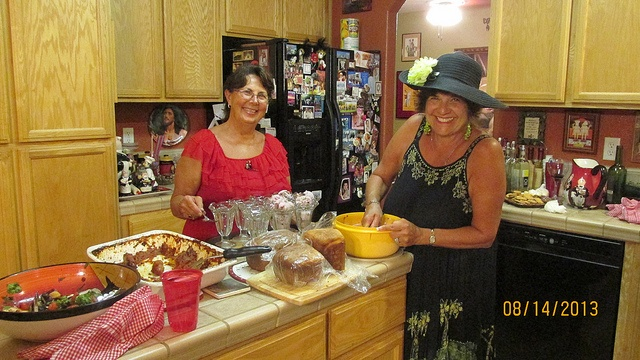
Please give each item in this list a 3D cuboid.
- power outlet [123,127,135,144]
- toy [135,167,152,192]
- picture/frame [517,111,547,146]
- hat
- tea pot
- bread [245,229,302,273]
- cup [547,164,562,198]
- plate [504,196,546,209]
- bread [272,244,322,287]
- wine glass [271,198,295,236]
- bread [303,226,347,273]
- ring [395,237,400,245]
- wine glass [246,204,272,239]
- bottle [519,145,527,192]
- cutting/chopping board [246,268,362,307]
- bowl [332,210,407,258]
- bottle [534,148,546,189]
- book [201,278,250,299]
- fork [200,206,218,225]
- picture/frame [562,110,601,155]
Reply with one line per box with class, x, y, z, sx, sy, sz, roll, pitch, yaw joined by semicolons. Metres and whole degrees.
power outlet;-1.900;-0.433;4.092;0.120;0.144;0.060;-10;14;-34
toy;-1.590;0.015;3.724;0.128;0.201;0.091;-5;12;-14
picture/frame;2.065;-0.491;4.002;0.344;0.438;0.047;4;6;36
hat;0.771;-0.608;2.496;0.408;0.164;0.451;21;9;38
tea pot;2.239;0.048;3.457;0.310;0.411;0.440;1;7;-6
bread;-0.234;0.371;2.258;0.170;0.151;0.296;8;16;41
cup;2.133;-0.002;3.800;0.095;0.328;0.170;-5;12;-11
plate;1.757;0.190;3.536;0.308;0.080;0.185;1;12;14
bread;-0.117;0.403;2.074;0.202;0.134;0.210;-3;5;-33
wine glass;-0.230;0.226;2.434;0.179;0.173;0.170;1;4;-4
bread;0.044;0.353;2.192;0.221;0.180;0.212;-2;8;-30
ring;0.436;0.348;2.336;0.025;0.024;0.030;-3;-3;14
wine glass;-0.357;0.243;2.506;0.179;0.220;0.196;3;3;6
bottle;1.873;-0.099;3.789;0.086;0.377;0.122;3;13;25
cutting/chopping board;-0.089;0.543;2.076;0.259;0.024;0.255;-9;13;-43
bowl;0.275;0.330;2.453;0.382;0.199;0.344;-1;12;3
bottle;2.078;-0.118;3.921;0.101;0.354;0.289;4;13;27
book;-0.469;0.545;2.065;0.211;0.043;0.122;-9;13;-32
fork;-0.704;0.234;2.618;0.077;0.070;0.306;-8;19;-20
picture/frame;2.422;-0.428;3.805;0.405;0.515;0.056;7;6;39
